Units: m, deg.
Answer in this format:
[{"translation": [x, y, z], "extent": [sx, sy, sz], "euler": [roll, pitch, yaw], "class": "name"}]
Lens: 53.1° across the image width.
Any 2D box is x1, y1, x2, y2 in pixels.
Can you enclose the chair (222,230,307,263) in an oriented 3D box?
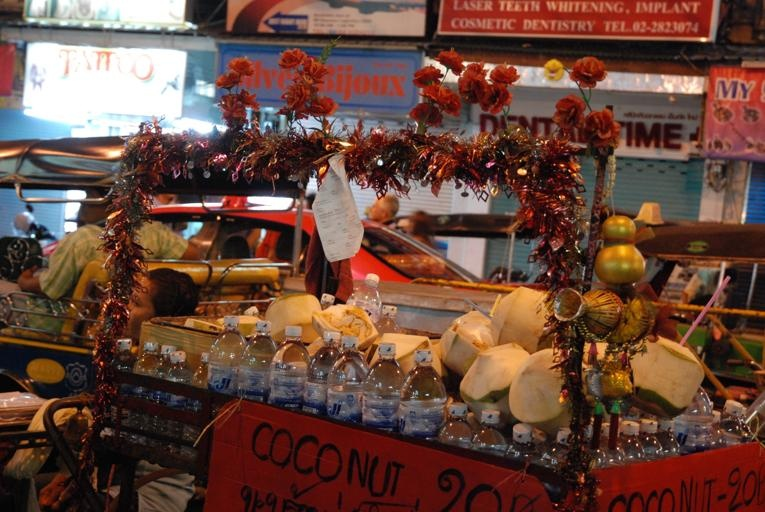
[{"translation": [-1.653, -0.161, 10.358], "extent": [0.888, 0.421, 0.547], "euler": [2, 2, 18], "class": "chair"}]
